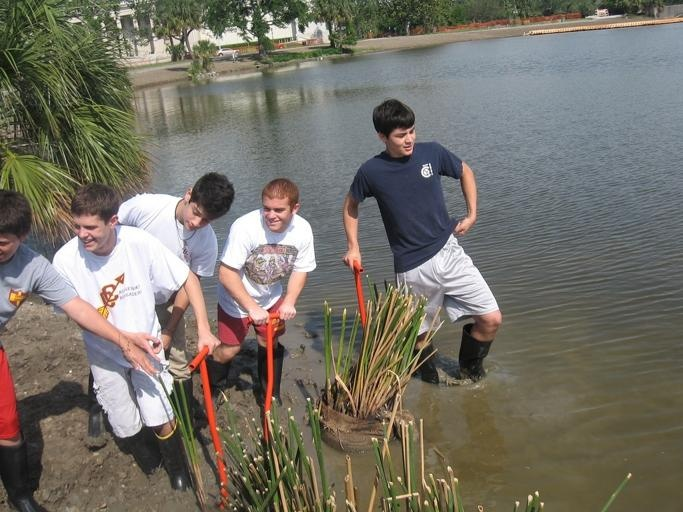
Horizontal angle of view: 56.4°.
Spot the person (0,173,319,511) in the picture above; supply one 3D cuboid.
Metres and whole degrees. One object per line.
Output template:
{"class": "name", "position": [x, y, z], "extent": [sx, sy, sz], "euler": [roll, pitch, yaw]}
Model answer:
{"class": "person", "position": [-1.630, 0.678, 4.771], "extent": [1.293, 2.504, 0.693], "euler": [-14, 23, -23]}

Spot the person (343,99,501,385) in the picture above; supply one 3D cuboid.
{"class": "person", "position": [0.732, -0.030, 5.929], "extent": [1.281, 2.893, 0.998], "euler": [-7, 14, 19]}
